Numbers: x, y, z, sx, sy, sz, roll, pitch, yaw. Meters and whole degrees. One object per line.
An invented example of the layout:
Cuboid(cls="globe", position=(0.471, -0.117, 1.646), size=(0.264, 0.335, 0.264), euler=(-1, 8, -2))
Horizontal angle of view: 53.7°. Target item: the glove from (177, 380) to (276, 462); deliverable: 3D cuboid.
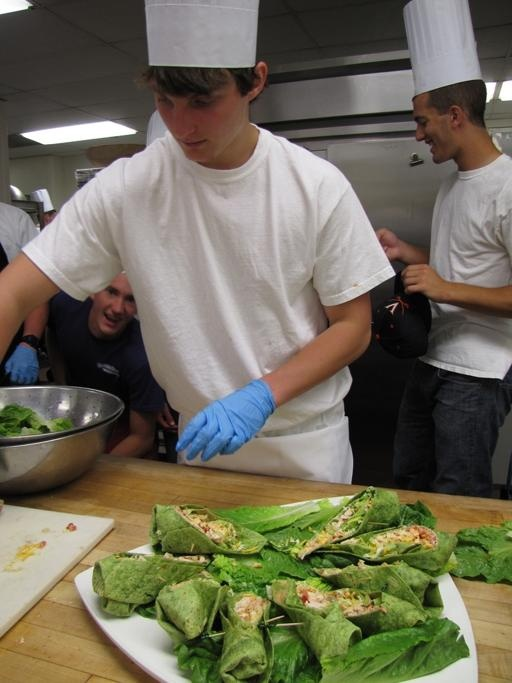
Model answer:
Cuboid(cls="glove", position=(-0.056, 0.175, 1.007), size=(0.114, 0.059, 0.200), euler=(36, 55, 25))

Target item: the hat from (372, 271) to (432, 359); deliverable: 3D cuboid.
Cuboid(cls="hat", position=(0.580, -0.078, 1.855), size=(0.132, 0.332, 0.255), euler=(-14, 9, -22))
